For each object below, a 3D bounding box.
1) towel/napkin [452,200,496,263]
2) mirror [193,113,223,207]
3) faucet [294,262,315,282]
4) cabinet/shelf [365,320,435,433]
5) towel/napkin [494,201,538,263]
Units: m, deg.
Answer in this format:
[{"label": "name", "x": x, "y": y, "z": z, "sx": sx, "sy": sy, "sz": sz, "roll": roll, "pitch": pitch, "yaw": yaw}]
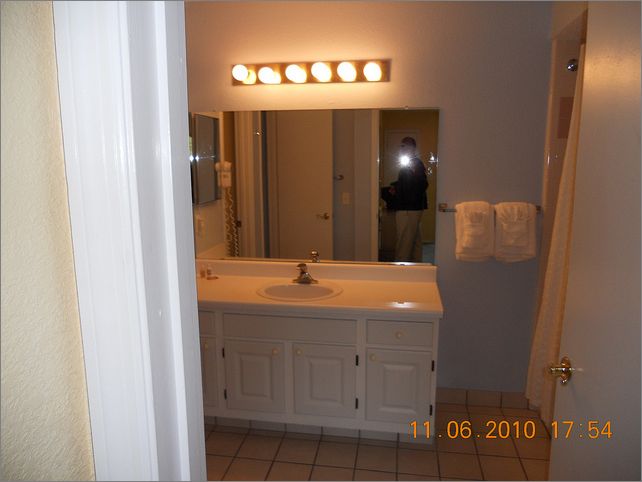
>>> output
[{"label": "towel/napkin", "x": 0.876, "y": -0.049, "z": 2.984, "sx": 0.226, "sy": 0.360, "sz": 0.196, "roll": 3, "pitch": 14, "yaw": 16}, {"label": "mirror", "x": -0.724, "y": -0.506, "z": 3.244, "sx": 0.053, "sy": 0.556, "sz": 0.211, "roll": 11, "pitch": 16, "yaw": 36}, {"label": "faucet", "x": -0.105, "y": 0.184, "z": 3.141, "sx": 0.123, "sy": 0.100, "sz": 0.098, "roll": -1, "pitch": -9, "yaw": 7}, {"label": "cabinet/shelf", "x": 0.412, "y": 0.621, "z": 2.809, "sx": 0.390, "sy": 0.682, "sz": 0.360, "roll": 3, "pitch": 20, "yaw": 13}, {"label": "towel/napkin", "x": 1.076, "y": -0.063, "z": 2.908, "sx": 0.212, "sy": 0.332, "sz": 0.095, "roll": 1, "pitch": 9, "yaw": 16}]
